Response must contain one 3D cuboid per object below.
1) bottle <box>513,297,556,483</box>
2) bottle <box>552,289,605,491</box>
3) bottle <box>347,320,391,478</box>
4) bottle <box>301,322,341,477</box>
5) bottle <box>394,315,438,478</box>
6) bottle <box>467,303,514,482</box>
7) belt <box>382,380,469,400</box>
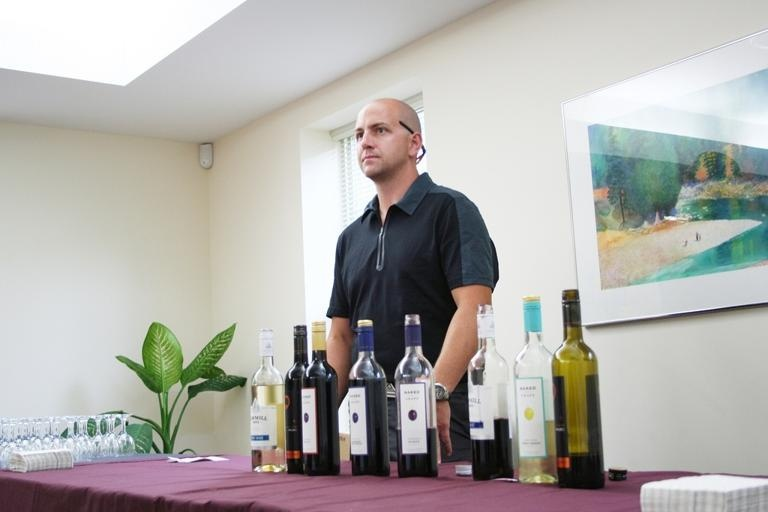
[{"bbox_3d":[0.292,0.297,1.169,0.082,0.286,0.076,-1,-11,0],"label":"bottle"},{"bbox_3d":[0.367,0.253,1.150,0.089,0.373,0.103,-4,-11,16],"label":"bottle"},{"bbox_3d":[-0.037,0.316,1.325,0.084,0.334,0.083,-1,-11,0],"label":"bottle"},{"bbox_3d":[-0.151,0.330,1.390,0.091,0.346,0.097,-1,-11,0],"label":"bottle"},{"bbox_3d":[0.070,0.307,1.320,0.089,0.338,0.173,-2,-11,4],"label":"bottle"},{"bbox_3d":[0.222,0.282,1.258,0.092,0.355,0.191,-3,-11,8],"label":"bottle"},{"bbox_3d":[0.149,0.371,1.690,0.159,0.059,0.120,-9,-5,24],"label":"belt"}]
